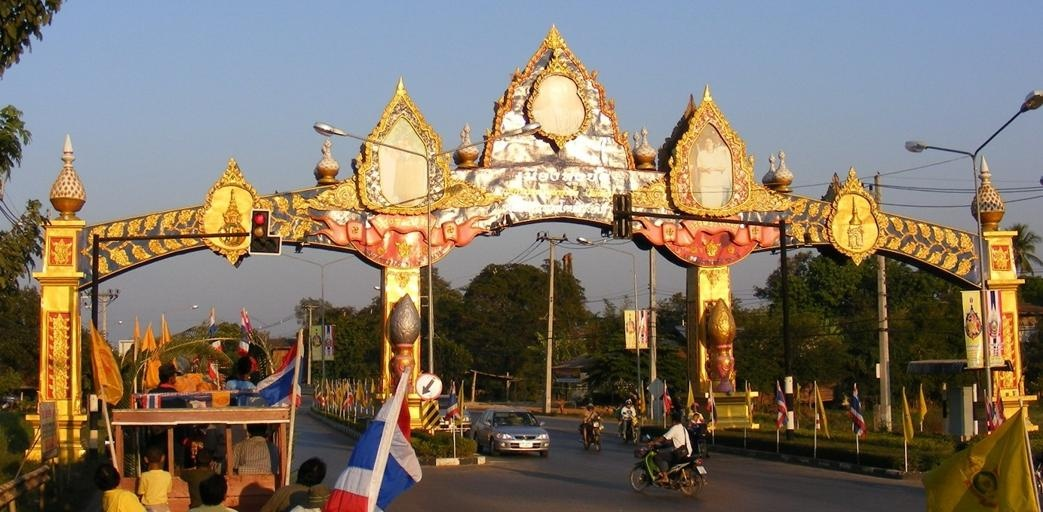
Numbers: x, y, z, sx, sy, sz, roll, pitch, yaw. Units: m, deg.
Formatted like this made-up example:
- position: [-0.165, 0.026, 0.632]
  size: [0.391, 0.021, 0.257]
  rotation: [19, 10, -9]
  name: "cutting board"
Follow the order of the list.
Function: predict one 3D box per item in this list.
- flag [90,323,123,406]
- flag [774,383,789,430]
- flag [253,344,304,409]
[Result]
- position: [-17.172, 4.528, 58.284]
  size: [1.295, 3.175, 5.301]
  rotation: [2, -8, -16]
  name: "flag"
- position: [12.936, 7.527, 69.789]
  size: [0.475, 2.072, 1.326]
  rotation: [-2, -8, 13]
  name: "flag"
- position: [-9.701, 5.010, 56.861]
  size: [1.503, 2.840, 1.259]
  rotation: [1, 0, -9]
  name: "flag"
